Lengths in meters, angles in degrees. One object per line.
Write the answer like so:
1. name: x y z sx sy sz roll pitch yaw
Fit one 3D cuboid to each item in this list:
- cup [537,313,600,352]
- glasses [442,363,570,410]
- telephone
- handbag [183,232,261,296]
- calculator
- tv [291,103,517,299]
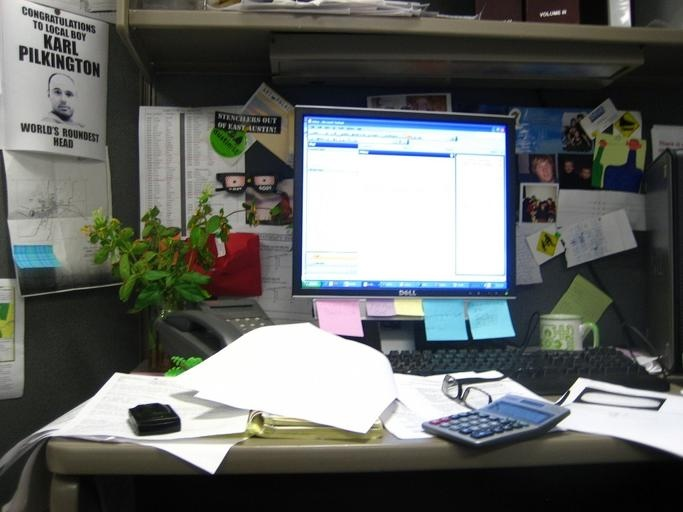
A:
1. cup: 0.498 0.164 1.345 0.112 0.079 0.073 0 -5 16
2. glasses: 0.268 0.225 1.099 0.153 0.040 0.140 2 7 -3
3. telephone: -0.246 0.142 1.226 0.212 0.108 0.156 1 2 37
4. handbag: -0.258 0.012 1.384 0.141 0.134 0.133 1 -1 25
5. calculator: 0.244 0.256 0.965 0.192 0.043 0.140 1 -2 -29
6. tv: 0.135 -0.111 1.291 0.468 0.392 0.031 0 1 -6
